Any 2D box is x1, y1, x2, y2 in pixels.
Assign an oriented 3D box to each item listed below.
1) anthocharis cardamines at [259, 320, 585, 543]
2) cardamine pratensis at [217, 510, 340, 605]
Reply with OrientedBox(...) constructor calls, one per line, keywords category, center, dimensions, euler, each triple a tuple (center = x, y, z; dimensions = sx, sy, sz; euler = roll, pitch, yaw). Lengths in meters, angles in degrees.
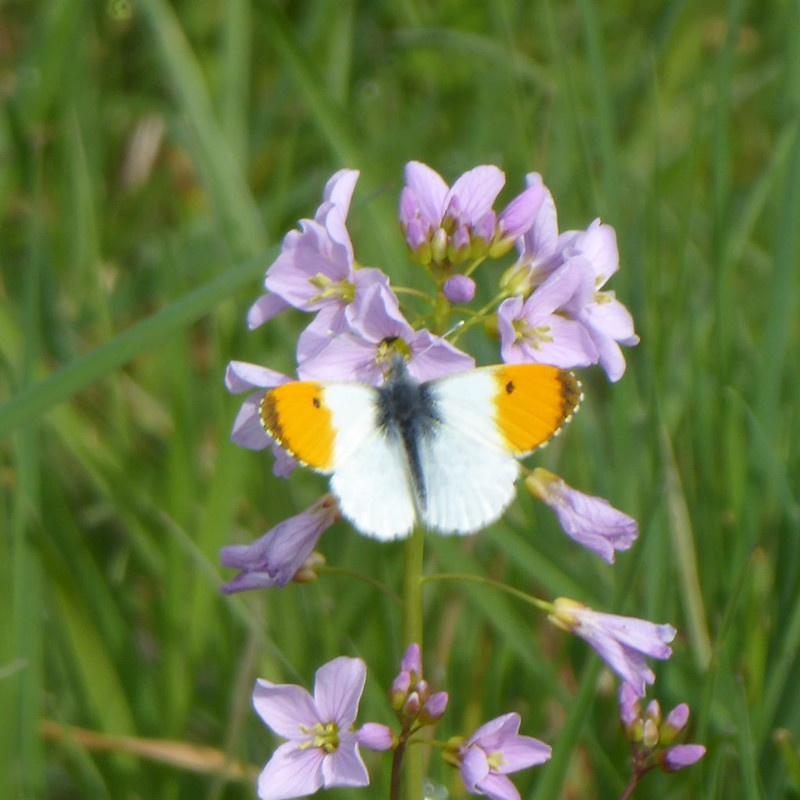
OrientedBox(category="anthocharis cardamines", center=(0.037, 0.064, 1.958), dimensions=(0.530, 0.144, 0.310), euler=(-5, 72, 2))
OrientedBox(category="cardamine pratensis", center=(-0.219, 0.274, 2.091), dimensions=(0.119, 0.079, 0.191), euler=(38, 59, 26))
